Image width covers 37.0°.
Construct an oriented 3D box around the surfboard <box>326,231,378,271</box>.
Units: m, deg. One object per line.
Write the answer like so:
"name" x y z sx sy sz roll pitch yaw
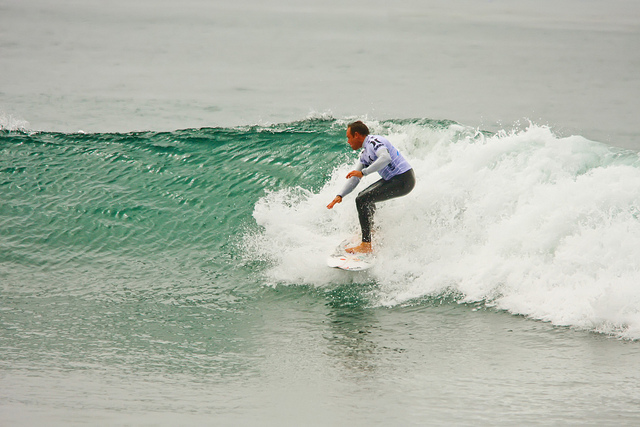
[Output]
"surfboard" 0.823 0.915 22.546 0.974 0.244 1.626 16 32 11
